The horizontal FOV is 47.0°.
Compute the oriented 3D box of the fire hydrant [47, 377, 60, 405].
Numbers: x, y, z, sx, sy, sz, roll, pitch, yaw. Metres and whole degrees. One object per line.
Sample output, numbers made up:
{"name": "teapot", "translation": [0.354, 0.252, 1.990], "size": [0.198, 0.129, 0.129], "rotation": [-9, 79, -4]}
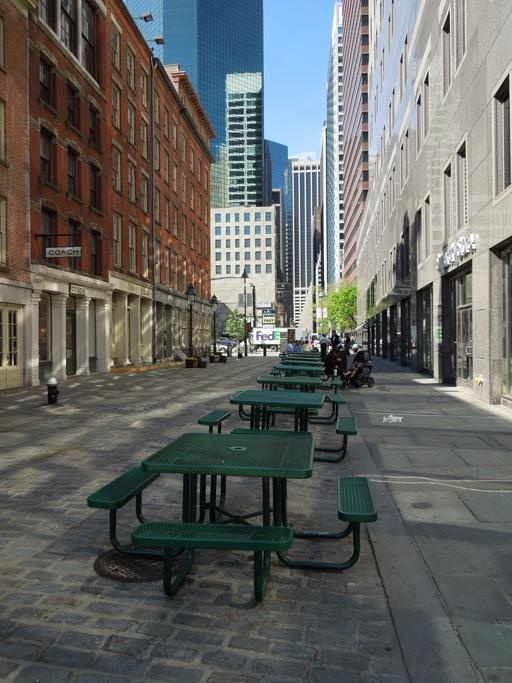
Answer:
{"name": "fire hydrant", "translation": [-4.634, 1.127, 13.497], "size": [0.221, 0.615, 0.574], "rotation": [-1, 0, -23]}

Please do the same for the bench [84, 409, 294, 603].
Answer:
{"name": "bench", "translation": [-0.357, 1.038, 3.619], "size": [0.738, 0.794, 1.250], "rotation": [0, -2, 3]}

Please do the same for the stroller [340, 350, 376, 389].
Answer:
{"name": "stroller", "translation": [3.051, 0.919, 17.926], "size": [0.579, 1.560, 1.639], "rotation": [-2, -5, 26]}

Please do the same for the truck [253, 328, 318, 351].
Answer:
{"name": "truck", "translation": [2.619, -0.191, 59.433], "size": [4.691, 3.122, 2.306], "rotation": [2, 0, 7]}

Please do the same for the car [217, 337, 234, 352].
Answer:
{"name": "car", "translation": [-3.020, 0.467, 58.019], "size": [1.541, 1.301, 1.223], "rotation": [-3, 5, 17]}
